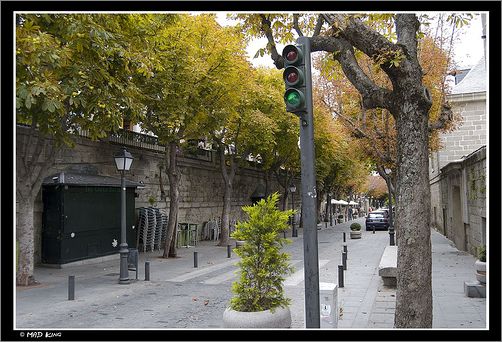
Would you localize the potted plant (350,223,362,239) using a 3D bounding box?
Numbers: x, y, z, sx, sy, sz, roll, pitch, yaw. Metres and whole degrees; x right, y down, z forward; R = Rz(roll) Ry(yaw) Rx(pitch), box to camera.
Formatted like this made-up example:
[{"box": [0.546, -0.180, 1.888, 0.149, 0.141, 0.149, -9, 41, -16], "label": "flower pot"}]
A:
[{"box": [6.786, 3.890, 28.759, 0.963, 1.137, 0.955, 2, -14, -1], "label": "potted plant"}]

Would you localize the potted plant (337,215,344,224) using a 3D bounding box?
[{"box": [10.581, 5.686, 52.277, 0.900, 0.896, 0.871, 8, -10, -39], "label": "potted plant"}]

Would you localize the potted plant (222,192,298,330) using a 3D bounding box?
[{"box": [0.177, 2.039, 9.982, 1.522, 3.076, 0.852, -3, -6, 0], "label": "potted plant"}]

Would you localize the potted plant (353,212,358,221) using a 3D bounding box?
[{"box": [17.325, 7.473, 72.691, 1.214, 0.963, 1.570, 0, -13, 8], "label": "potted plant"}]

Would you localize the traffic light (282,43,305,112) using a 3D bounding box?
[{"box": [0.856, -1.826, 8.730, 0.453, 1.451, 0.296, -3, -6, 4], "label": "traffic light"}]
